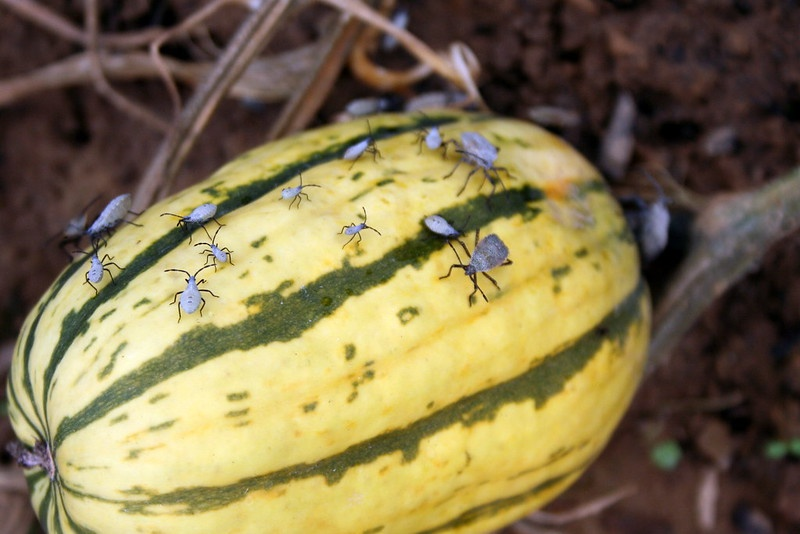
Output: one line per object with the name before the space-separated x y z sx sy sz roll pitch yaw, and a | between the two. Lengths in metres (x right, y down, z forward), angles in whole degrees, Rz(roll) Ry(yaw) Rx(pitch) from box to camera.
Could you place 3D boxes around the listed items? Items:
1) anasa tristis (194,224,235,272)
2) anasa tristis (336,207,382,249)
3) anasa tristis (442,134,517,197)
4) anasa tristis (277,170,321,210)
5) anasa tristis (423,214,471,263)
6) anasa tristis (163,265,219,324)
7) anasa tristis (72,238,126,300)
anasa tristis | -0.745 -0.072 3.619 0.139 0.067 0.176 -35 83 -10
anasa tristis | -0.172 -0.171 3.622 0.135 0.045 0.122 -24 70 -16
anasa tristis | 0.332 -0.462 3.861 0.231 0.092 0.311 -7 61 -28
anasa tristis | -0.417 -0.301 3.720 0.148 0.108 0.045 -14 85 -44
anasa tristis | 0.207 -0.172 3.667 0.226 0.163 0.054 43 35 14
anasa tristis | -0.841 0.082 3.503 0.191 0.080 0.220 -1 62 -4
anasa tristis | -1.259 -0.003 3.737 0.143 0.058 0.189 -29 43 3
